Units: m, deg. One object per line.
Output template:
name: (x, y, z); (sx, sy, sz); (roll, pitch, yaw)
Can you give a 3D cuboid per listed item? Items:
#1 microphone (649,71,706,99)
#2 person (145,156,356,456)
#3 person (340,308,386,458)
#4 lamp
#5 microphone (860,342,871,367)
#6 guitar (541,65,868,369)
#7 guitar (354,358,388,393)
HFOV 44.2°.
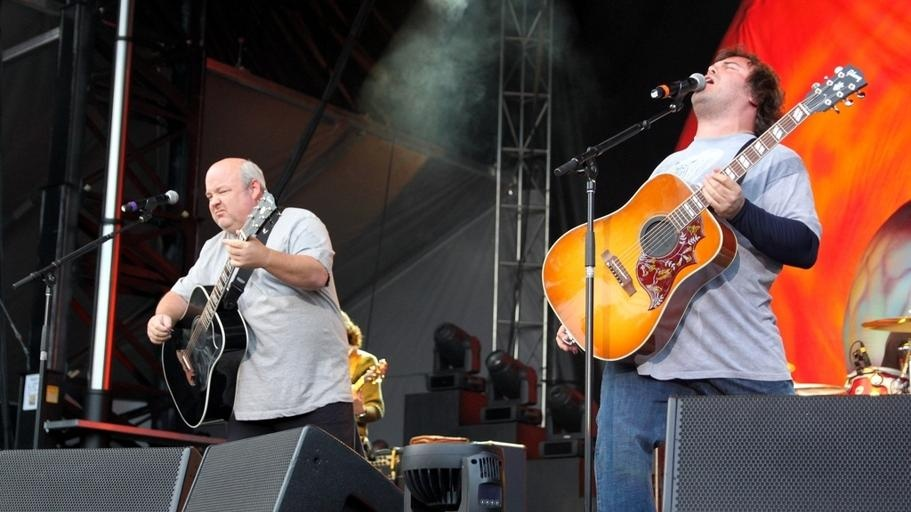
microphone: (1.779, -1.329, 8.764); (0.545, 0.164, 0.162); (-20, 22, -34)
person: (-1.449, 0.330, 8.943); (1.508, 2.333, 0.851); (4, -17, -5)
person: (-0.912, 1.280, 11.216); (0.701, 1.238, 0.343); (-2, -9, 2)
lamp: (0.863, 1.658, 13.408); (1.740, 1.545, 1.497); (7, -14, -43)
microphone: (4.116, 0.999, 11.298); (0.089, 0.238, 0.127); (-4, -13, -25)
guitar: (2.023, -0.027, 8.971); (3.291, 1.389, 0.553); (-44, -30, 18)
guitar: (-0.828, 1.253, 11.333); (0.393, 0.097, 0.204); (-33, 40, -30)
